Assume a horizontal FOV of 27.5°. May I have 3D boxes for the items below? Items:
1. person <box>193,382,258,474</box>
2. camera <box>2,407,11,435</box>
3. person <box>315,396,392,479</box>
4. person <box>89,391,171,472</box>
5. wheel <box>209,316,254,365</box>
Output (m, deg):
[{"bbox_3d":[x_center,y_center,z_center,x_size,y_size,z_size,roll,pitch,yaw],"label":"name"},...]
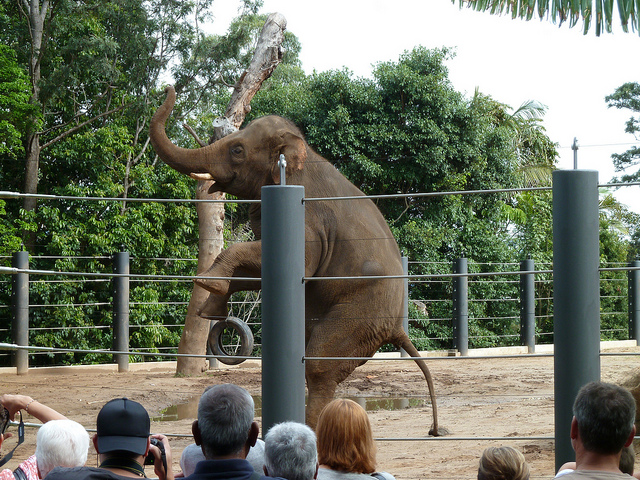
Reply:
[{"bbox_3d":[-0.930,1.965,14.035,0.652,0.931,0.880,1,9,-3],"label":"person"},{"bbox_3d":[-3.384,1.957,14.169,0.073,0.289,0.171,1,-5,-4],"label":"camera"},{"bbox_3d":[0.289,2.119,14.211,0.749,0.715,0.752,0,3,-23],"label":"person"},{"bbox_3d":[-2.047,2.036,14.053,0.631,0.569,0.923,2,8,-14],"label":"person"},{"bbox_3d":[-1.069,1.245,15.853,0.546,0.610,0.203,10,13,21],"label":"wheel"}]
